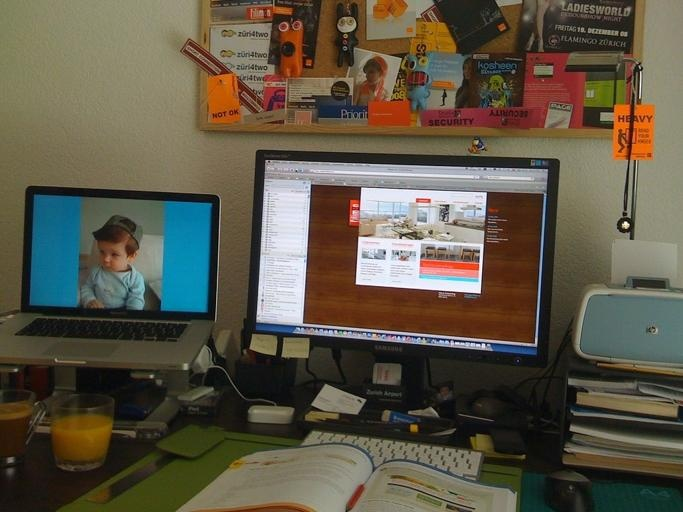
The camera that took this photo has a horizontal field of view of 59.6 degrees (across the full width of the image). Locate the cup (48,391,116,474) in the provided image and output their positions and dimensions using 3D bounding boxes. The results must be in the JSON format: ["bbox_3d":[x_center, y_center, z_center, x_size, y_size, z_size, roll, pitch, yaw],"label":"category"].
[{"bbox_3d":[-0.482,0.325,1.140,0.136,0.145,0.131,2,2,0],"label":"cup"}]

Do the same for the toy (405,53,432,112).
[{"bbox_3d":[0.196,-0.433,1.493,0.060,0.140,0.033,-1,13,7],"label":"toy"}]

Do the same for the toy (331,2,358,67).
[{"bbox_3d":[0.016,-0.565,1.520,0.060,0.160,0.030,0,13,10],"label":"toy"}]

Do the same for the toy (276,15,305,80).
[{"bbox_3d":[-0.129,-0.528,1.535,0.071,0.139,0.031,-3,12,-4],"label":"toy"}]

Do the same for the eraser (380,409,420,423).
[{"bbox_3d":[0.127,0.340,1.279,0.060,0.015,0.032,4,9,5],"label":"eraser"}]

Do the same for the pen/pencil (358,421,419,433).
[{"bbox_3d":[0.096,0.361,1.244,0.086,0.019,0.017,-1,8,1],"label":"pen/pencil"}]

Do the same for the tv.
[{"bbox_3d":[0.130,0.097,1.326,0.671,0.479,0.172,4,4,12],"label":"tv"}]
